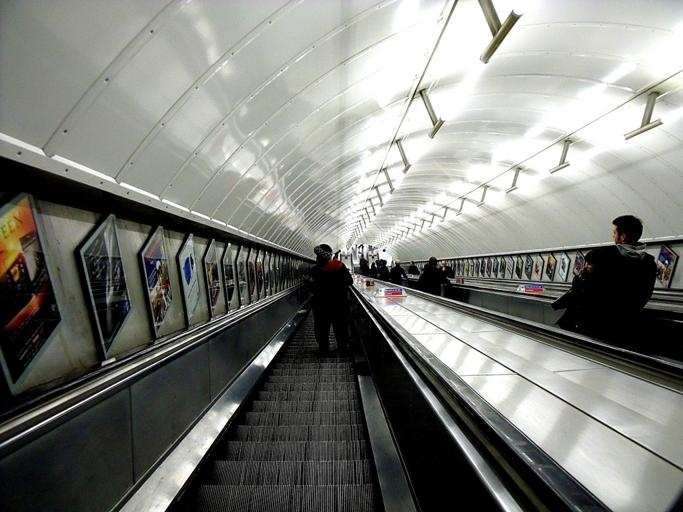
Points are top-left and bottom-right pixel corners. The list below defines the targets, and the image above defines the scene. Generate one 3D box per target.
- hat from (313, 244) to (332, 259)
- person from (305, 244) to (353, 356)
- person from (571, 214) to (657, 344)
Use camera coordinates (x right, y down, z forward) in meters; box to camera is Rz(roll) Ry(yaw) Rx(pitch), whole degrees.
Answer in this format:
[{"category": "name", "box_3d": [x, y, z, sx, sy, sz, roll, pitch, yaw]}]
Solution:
[{"category": "hat", "box_3d": [-0.395, -0.097, 7.231, 0.304, 0.261, 0.269, -7, 1, -11]}, {"category": "person", "box_3d": [-0.237, 0.860, 7.513, 0.845, 2.426, 0.760, -8, 20, -24]}, {"category": "person", "box_3d": [3.122, 0.395, 3.893, 0.669, 1.143, 0.338, 7, -3, 38]}]
